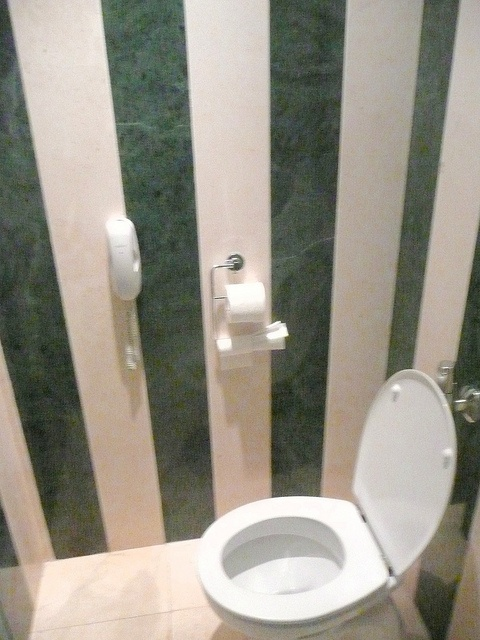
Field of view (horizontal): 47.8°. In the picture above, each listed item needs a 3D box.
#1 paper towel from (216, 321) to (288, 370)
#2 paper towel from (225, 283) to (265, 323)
[{"bbox_3d":[0.037,0.080,1.536,0.207,0.147,0.065,-5,20,-6],"label":"paper towel"},{"bbox_3d":[0.015,-0.044,1.454,0.113,0.108,0.090,-4,19,-13],"label":"paper towel"}]
